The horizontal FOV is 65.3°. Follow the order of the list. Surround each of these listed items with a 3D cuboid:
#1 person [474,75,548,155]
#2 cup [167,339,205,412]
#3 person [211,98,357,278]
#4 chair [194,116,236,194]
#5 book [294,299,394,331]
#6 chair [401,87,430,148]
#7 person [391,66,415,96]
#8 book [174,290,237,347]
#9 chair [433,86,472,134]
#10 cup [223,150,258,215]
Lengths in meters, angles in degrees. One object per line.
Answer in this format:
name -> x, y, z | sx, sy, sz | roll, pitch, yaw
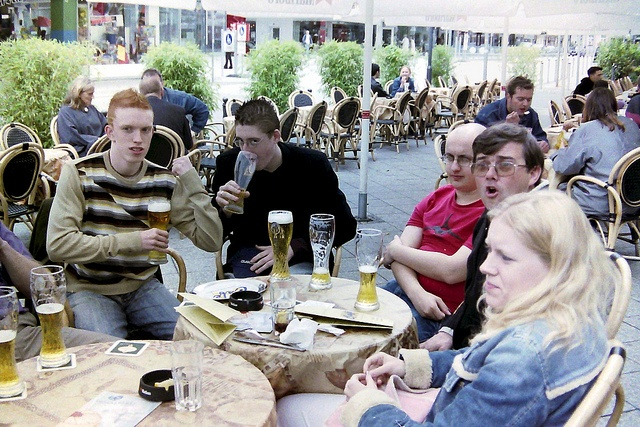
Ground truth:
person -> 2.435, -1.066, 6.315 | 0.899, 1.178, 0.861 | -1, 11, -8
cup -> -0.477, 0.573, 1.778 | 0.108, 0.230, 0.133 | 1, 12, -14
person -> -0.266, -0.068, 3.358 | 1.057, 1.263, 1.017 | 3, 15, -14
chair -> -1.498, -0.814, 7.129 | 0.657, 0.914, 0.644 | -1, 19, 4
book -> 0.108, 0.470, 2.300 | 0.296, 0.038, 0.169 | 5, 5, 11
chair -> 2.150, -2.286, 11.912 | 0.919, 1.282, 0.898 | -2, 8, 19
person -> 2.194, -3.427, 13.251 | 0.613, 0.832, 0.530 | -1, 13, -4
book -> -0.519, 0.464, 2.232 | 0.259, 0.089, 0.195 | 22, 20, 34
chair -> 3.477, -2.699, 13.101 | 1.003, 1.199, 1.039 | -1, 15, 4
cup -> -0.487, -0.176, 3.029 | 0.181, 0.411, 0.257 | 2, 11, -11
